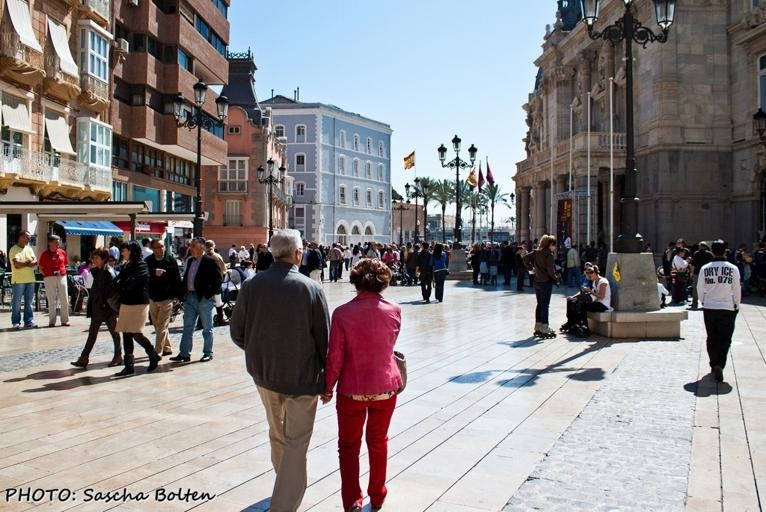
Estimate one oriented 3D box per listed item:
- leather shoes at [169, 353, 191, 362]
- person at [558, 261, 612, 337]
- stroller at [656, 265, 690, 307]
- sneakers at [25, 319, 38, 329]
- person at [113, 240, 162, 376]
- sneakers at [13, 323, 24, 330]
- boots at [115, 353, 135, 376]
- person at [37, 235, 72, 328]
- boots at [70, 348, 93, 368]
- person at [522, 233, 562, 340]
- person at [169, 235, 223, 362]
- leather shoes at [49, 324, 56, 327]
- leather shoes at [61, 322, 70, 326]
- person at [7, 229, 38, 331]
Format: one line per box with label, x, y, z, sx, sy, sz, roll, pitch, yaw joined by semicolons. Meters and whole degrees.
leather shoes;-4.180;2.113;14.365;0.411;0.194;0.161;6;-1;7
person;4.998;1.077;16.795;1.075;1.326;0.634;-2;-1;26
stroller;10.166;0.975;24.342;0.626;1.061;0.681;20;19;33
sneakers;-9.322;1.813;18.344;0.179;0.152;0.414;0;4;-37
person;-4.856;1.013;13.568;0.759;2.580;0.497;-1;-1;-31
sneakers;-9.558;1.869;18.160;0.364;0.171;0.127;-1;-1;39
boots;-4.982;2.102;13.392;0.360;0.419;0.410;-1;-1;-23
person;-8.788;0.669;18.517;0.740;2.448;1.215;-1;-1;-28
boots;-5.987;2.044;13.723;0.339;0.379;0.384;-1;-1;-27
person;3.925;0.739;17.028;0.745;1.798;1.112;-2;-1;15
person;-3.872;0.903;14.659;0.958;2.613;0.899;-1;-1;-14
leather shoes;-8.745;1.852;18.344;0.156;0.083;0.450;-1;-1;-28
leather shoes;-8.498;1.841;18.572;0.225;0.101;0.096;-1;0;7
person;-9.555;0.622;18.428;0.629;2.571;0.974;-1;-1;-29
